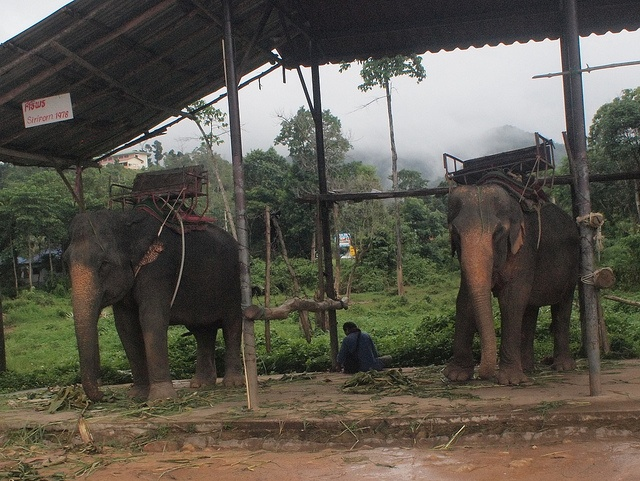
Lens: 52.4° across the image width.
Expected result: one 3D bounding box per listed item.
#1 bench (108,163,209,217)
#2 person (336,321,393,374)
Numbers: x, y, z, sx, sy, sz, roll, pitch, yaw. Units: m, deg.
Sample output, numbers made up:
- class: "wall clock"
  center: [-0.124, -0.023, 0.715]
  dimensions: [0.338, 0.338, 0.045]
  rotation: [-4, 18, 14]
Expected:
- class: "bench"
  center: [-2.210, -0.682, 8.848]
  dimensions: [1.252, 0.695, 0.654]
  rotation: [-4, -3, 19]
- class: "person"
  center: [0.622, 1.584, 9.761]
  dimensions: [0.760, 0.805, 0.513]
  rotation: [-9, -12, -17]
